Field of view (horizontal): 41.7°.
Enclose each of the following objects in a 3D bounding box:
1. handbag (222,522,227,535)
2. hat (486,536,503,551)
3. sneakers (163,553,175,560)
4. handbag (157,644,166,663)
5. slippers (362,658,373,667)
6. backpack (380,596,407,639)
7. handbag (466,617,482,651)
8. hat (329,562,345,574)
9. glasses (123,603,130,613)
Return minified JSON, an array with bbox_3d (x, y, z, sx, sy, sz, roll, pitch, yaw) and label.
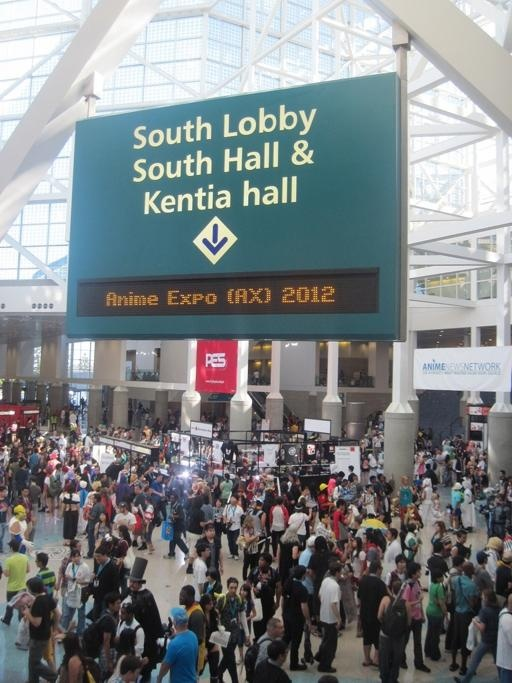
[{"bbox_3d":[-0.623,3.693,13.293,0.062,0.296,0.203,1,-4,-5],"label":"handbag"},{"bbox_3d":[3.342,2.857,9.437,0.181,0.232,0.457,-1,-7,15],"label":"hat"},{"bbox_3d":[-1.700,4.155,13.017,0.189,0.098,0.092,8,-2,3],"label":"sneakers"},{"bbox_3d":[-0.885,2.945,6.379,0.104,0.150,0.153,7,3,-8],"label":"handbag"},{"bbox_3d":[1.358,3.914,8.218,0.123,0.072,0.150,0,-7,8],"label":"slippers"},{"bbox_3d":[1.476,2.961,7.200,0.277,0.440,0.228,0,-7,10],"label":"backpack"},{"bbox_3d":[2.441,3.294,7.572,0.152,0.489,0.610,-1,-7,17],"label":"handbag"},{"bbox_3d":[0.959,2.709,7.988,0.116,0.151,0.147,12,-31,25],"label":"hat"},{"bbox_3d":[-1.113,2.290,5.788,0.046,0.068,0.064,12,4,-4],"label":"glasses"}]
